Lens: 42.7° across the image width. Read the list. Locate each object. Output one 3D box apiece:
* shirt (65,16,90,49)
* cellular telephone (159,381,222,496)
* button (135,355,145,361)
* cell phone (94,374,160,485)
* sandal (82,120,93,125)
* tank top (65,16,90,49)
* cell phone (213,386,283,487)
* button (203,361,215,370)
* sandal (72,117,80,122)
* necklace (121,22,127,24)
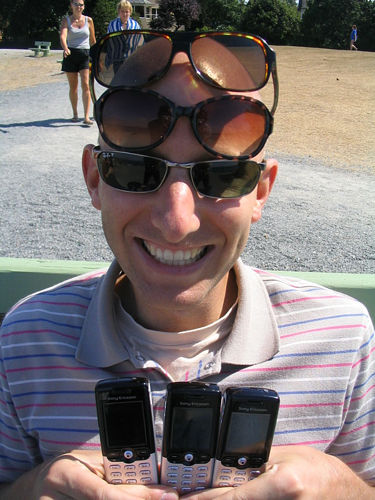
[{"bbox_3d":[-1.810,-3.539,7.893,0.448,0.530,0.320,-6,17,-19],"label":"shirt"},{"bbox_3d":[0.003,0.355,0.887,0.103,0.252,0.061,6,27,4],"label":"cellular telephone"},{"bbox_3d":[-0.121,0.273,1.200,0.025,0.004,0.015,4,24,3],"label":"button"},{"bbox_3d":[-0.112,0.356,0.903,0.117,0.263,0.086,-1,27,-9],"label":"cell phone"},{"bbox_3d":[-1.797,-2.274,8.539,0.152,0.082,0.339,-7,25,-21],"label":"sandal"},{"bbox_3d":[-1.792,-3.545,7.868,0.417,0.502,0.284,-5,28,-11],"label":"tank top"},{"bbox_3d":[0.119,0.356,0.932,0.103,0.256,0.164,11,27,14],"label":"cell phone"},{"bbox_3d":[0.053,0.286,1.186,0.026,0.013,0.029,4,24,1],"label":"button"},{"bbox_3d":[-2.048,-2.345,8.699,0.110,0.015,0.167,-2,-8,1],"label":"sandal"},{"bbox_3d":[-1.163,-4.081,8.676,0.107,0.028,0.165,-1,24,-10],"label":"necklace"}]
